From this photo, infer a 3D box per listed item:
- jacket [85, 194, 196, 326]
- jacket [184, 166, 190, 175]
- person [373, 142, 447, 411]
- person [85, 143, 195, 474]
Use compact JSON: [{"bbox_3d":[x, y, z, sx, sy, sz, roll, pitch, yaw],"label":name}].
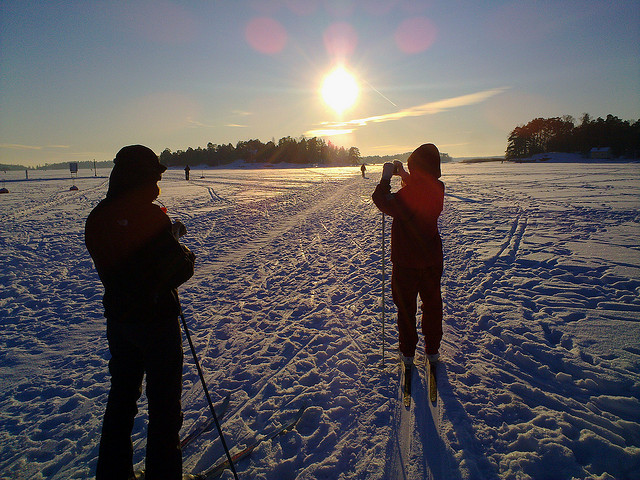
[{"bbox_3d":[-1.891,0.234,4.986,1.120,1.459,1.119,-9,-4,40],"label":"jacket"},{"bbox_3d":[-11.343,-5.840,38.412,0.155,0.647,0.497,-7,11,-28],"label":"jacket"},{"bbox_3d":[1.198,0.434,5.647,0.868,3.176,0.627,-3,9,-7],"label":"person"},{"bbox_3d":[-1.823,0.758,4.557,1.000,3.357,0.733,-4,9,-16],"label":"person"}]
